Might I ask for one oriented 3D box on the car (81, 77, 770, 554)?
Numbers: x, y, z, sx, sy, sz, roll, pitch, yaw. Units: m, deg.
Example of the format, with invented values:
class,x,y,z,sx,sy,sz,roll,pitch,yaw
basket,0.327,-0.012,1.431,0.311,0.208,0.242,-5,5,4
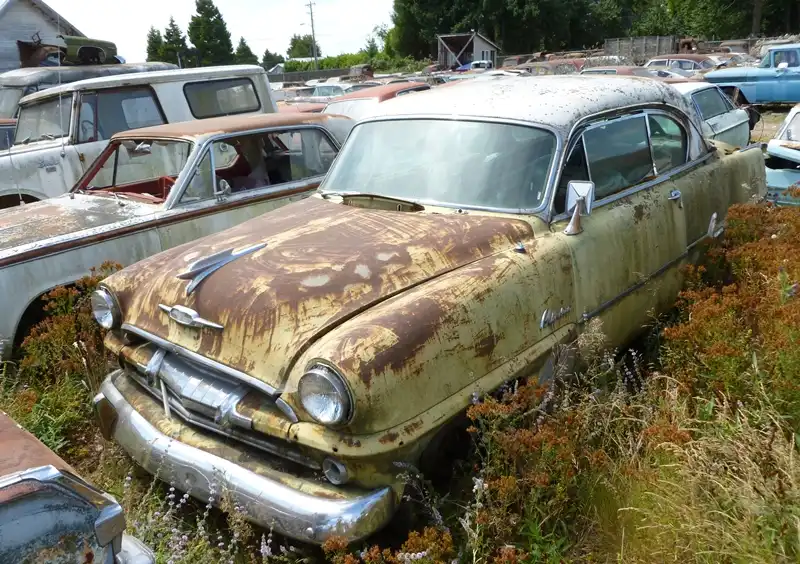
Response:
class,x,y,z,sx,sy,sz,roll,pitch,yaw
car,0.610,-0.102,4.274,4.987,1.811,2.354,-22,27,-38
